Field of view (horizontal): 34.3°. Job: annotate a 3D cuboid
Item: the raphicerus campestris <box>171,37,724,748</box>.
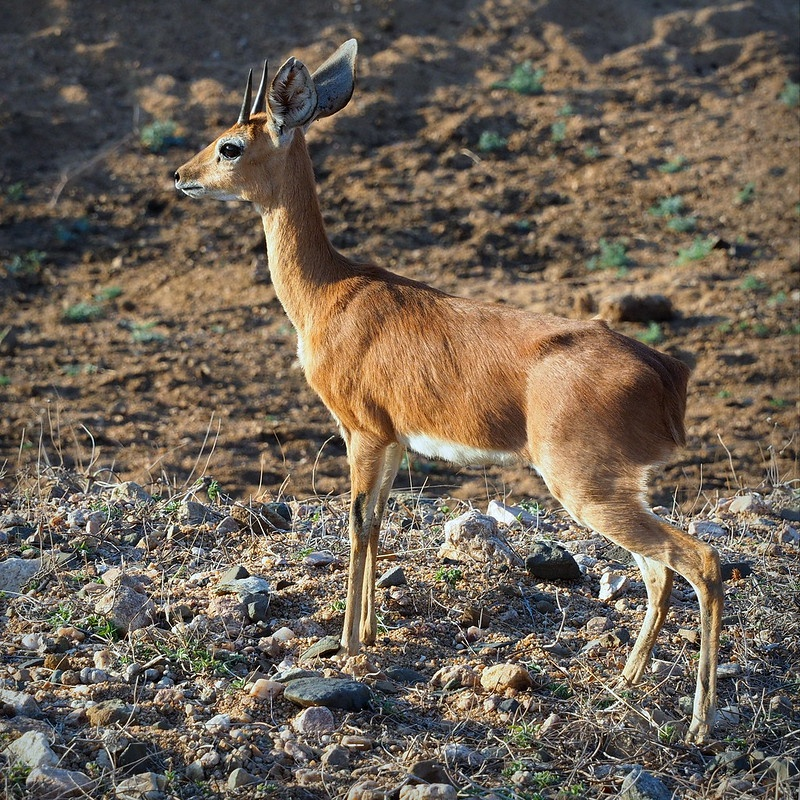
[{"bbox_3d":[0.314,-0.107,6.638,2.726,3.300,1.071,2,17,23],"label":"raphicerus campestris"}]
